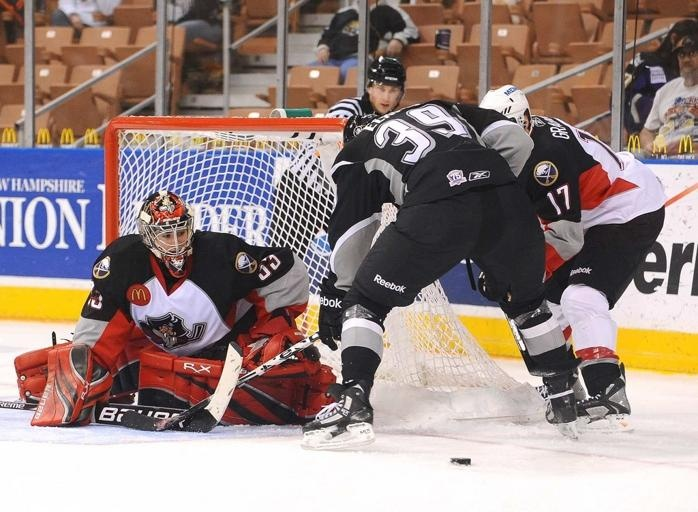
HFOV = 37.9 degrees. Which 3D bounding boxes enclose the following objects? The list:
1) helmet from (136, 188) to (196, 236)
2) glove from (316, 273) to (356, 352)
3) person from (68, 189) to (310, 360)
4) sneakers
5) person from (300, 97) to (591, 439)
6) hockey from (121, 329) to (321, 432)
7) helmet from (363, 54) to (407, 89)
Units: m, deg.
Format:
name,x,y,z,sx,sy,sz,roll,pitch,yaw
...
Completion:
name,x,y,z,sx,sy,sz,roll,pitch,yaw
helmet,-0.851,-0.204,4.659,0.189,0.189,0.229,-10,2,-24
glove,-0.072,0.244,4.458,0.175,0.267,0.077,-6,3,35
person,-0.812,0.174,4.791,1.230,0.764,0.559,-7,19,-14
sneakers,-0.036,0.629,4.197,0.336,0.185,0.107,-15,-29,25
person,0.456,-0.002,4.613,1.262,1.575,1.033,-2,-10,-15
hockey,-0.591,0.554,4.546,0.887,0.448,0.236,0,5,-6
helmet,0.206,-1.046,5.752,0.176,0.179,0.194,3,-2,-9
